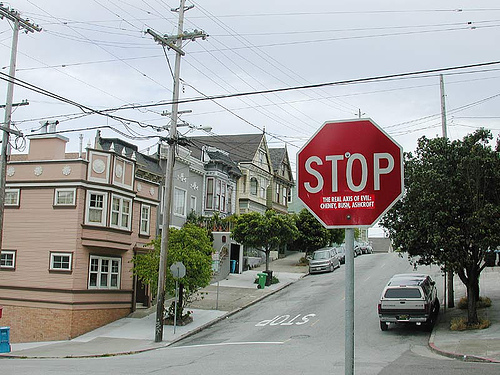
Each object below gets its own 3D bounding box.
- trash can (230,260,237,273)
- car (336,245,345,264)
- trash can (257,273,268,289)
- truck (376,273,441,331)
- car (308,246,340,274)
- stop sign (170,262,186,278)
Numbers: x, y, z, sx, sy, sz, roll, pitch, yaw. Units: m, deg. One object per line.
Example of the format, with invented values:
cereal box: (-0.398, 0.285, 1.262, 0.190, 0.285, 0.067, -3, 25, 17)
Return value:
trash can: (-1.331, 6.077, 47.006, 0.446, 0.967, 0.827, -1, -1, -2)
car: (8.081, 5.644, 52.255, 1.014, 0.905, 1.745, -3, -16, 10)
trash can: (0.845, 6.276, 40.652, 0.591, 0.982, 0.466, 0, -1, -12)
truck: (7.822, 5.206, 28.502, 1.880, 1.559, 3.822, -2, 2, 15)
car: (6.234, 5.777, 48.064, 1.672, 1.440, 3.257, -1, -1, 24)
stop sign: (-3.610, 3.956, 29.116, 0.715, 0.652, 0.714, 9, 4, 2)
